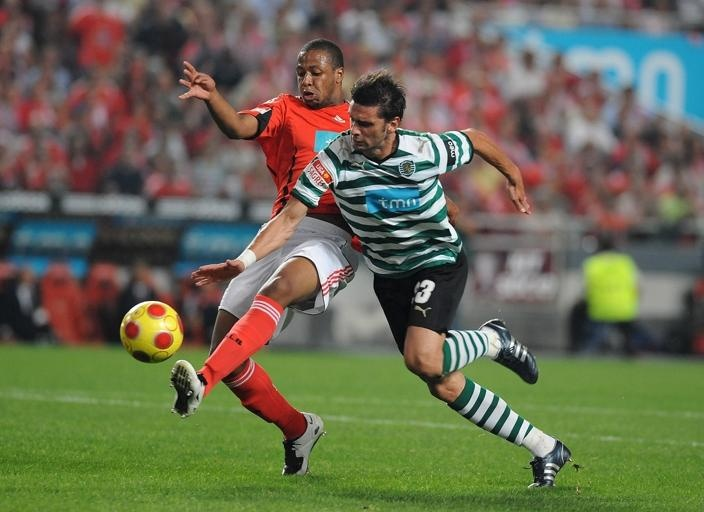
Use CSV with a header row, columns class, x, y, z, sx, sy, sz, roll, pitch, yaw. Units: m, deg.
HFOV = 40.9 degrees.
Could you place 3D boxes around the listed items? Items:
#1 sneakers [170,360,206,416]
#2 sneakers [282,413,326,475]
class,x,y,z,sx,sy,sz,roll,pitch,yaw
sneakers,-1.023,0.828,5.846,0.228,0.387,0.189,5,4,6
sneakers,-0.324,1.316,6.469,0.243,0.506,0.165,27,-15,-38
